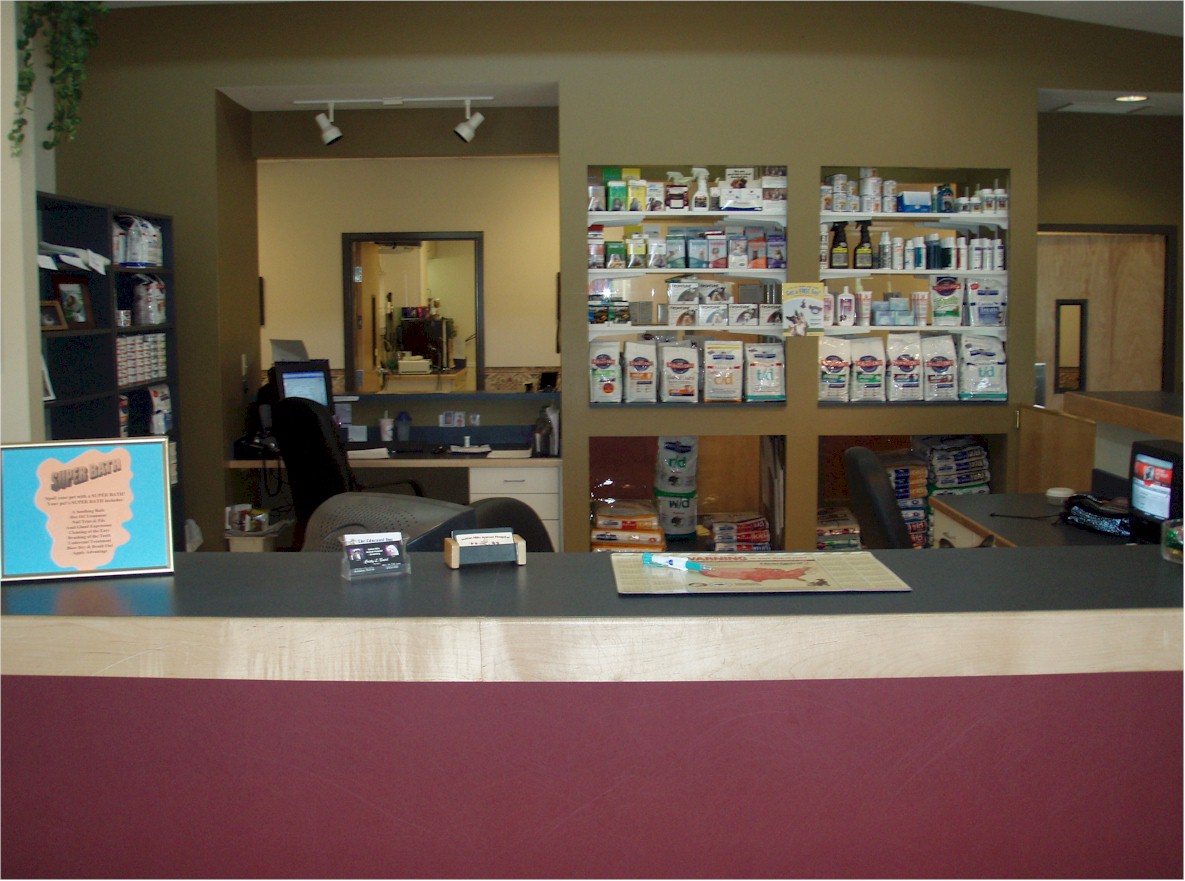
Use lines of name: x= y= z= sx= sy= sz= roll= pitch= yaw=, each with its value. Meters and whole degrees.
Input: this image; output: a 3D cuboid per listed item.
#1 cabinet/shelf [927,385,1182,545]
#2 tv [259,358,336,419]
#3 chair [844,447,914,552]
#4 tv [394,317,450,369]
cabinet/shelf: x=2.220 y=0.166 z=4.868 sx=0.973 sy=0.701 sz=2.415 roll=5 pitch=12 yaw=29
tv: x=-1.871 y=-0.370 z=6.448 sx=0.537 sy=0.520 sz=0.390 roll=0 pitch=4 yaw=-16
chair: x=1.121 y=0.240 z=4.005 sx=0.158 sy=0.383 sz=0.358 roll=-3 pitch=10 yaw=-13
tv: x=-1.649 y=-0.914 z=9.538 sx=0.508 sy=0.750 sz=0.419 roll=1 pitch=4 yaw=1
